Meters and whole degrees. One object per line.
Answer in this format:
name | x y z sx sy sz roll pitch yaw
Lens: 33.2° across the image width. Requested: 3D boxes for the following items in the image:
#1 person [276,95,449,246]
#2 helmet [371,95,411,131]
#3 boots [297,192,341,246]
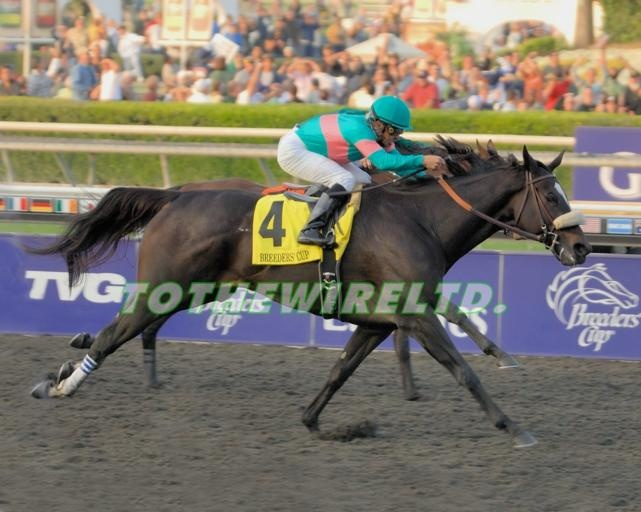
person | 0.489 -0.638 7.545 1.663 0.972 0.832 6 23 40
helmet | 0.484 -0.993 7.410 0.365 0.146 0.201 9 31 -25
boots | -0.011 -0.259 7.339 0.253 0.375 0.236 5 16 0
